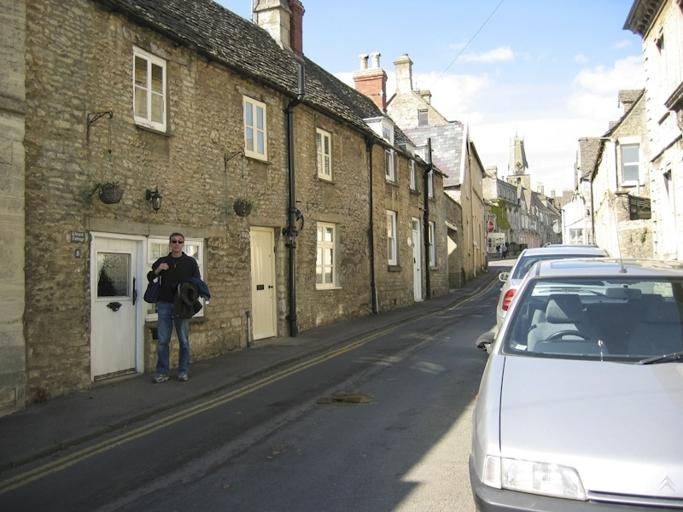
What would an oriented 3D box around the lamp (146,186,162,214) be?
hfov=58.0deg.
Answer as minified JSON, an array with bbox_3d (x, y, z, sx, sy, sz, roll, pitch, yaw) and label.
[{"bbox_3d":[-3.433,-1.050,11.391,0.180,0.448,0.379,0,6,22],"label":"lamp"}]

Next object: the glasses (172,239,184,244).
[{"bbox_3d":[-2.806,-0.235,10.542,0.203,0.095,0.081,-8,8,-44],"label":"glasses"}]

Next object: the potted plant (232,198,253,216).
[{"bbox_3d":[-2.137,-1.070,13.413,0.259,0.426,0.451,1,6,34],"label":"potted plant"}]

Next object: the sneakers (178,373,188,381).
[{"bbox_3d":[-2.690,2.049,10.441,0.157,0.126,0.250,-4,6,-17],"label":"sneakers"}]

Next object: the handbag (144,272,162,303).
[{"bbox_3d":[-3.234,0.575,10.523,0.293,0.454,0.171,-3,5,-9],"label":"handbag"}]

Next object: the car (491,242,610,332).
[{"bbox_3d":[3.589,0.544,11.128,1.234,1.099,2.990,-2,4,9],"label":"car"}]

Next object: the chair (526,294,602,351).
[{"bbox_3d":[2.103,0.658,5.916,0.470,0.580,0.480,1,-16,11],"label":"chair"}]

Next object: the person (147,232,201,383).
[{"bbox_3d":[-2.873,0.860,10.597,0.841,2.488,0.692,-4,5,-21],"label":"person"}]

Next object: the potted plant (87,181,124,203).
[{"bbox_3d":[-3.951,-1.068,10.460,0.254,0.393,0.757,0,6,19],"label":"potted plant"}]

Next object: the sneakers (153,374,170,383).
[{"bbox_3d":[-3.049,2.096,10.452,0.105,0.149,0.312,-3,-11,21],"label":"sneakers"}]
